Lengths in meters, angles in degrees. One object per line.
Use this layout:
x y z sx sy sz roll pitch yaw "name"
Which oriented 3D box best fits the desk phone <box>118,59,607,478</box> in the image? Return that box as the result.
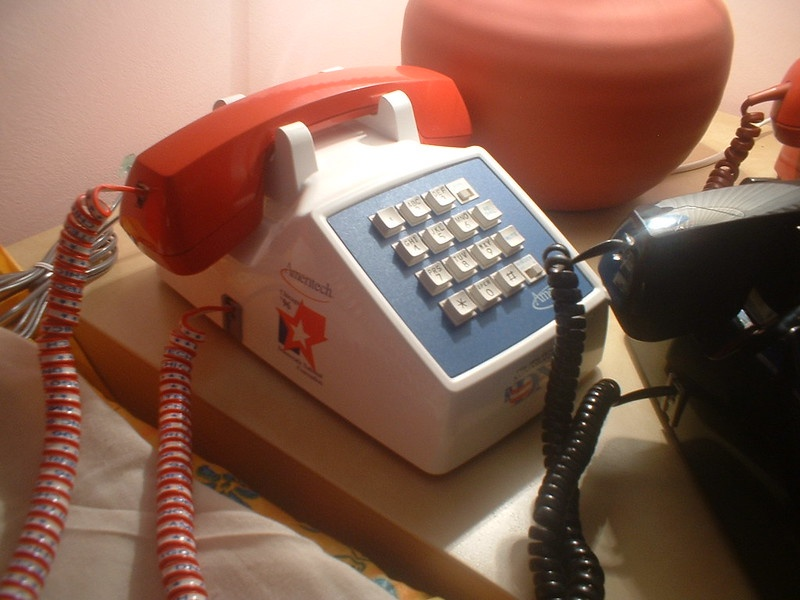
-0.023 -0.073 0.663 0.396 0.219 0.436 36 41 30 "desk phone"
